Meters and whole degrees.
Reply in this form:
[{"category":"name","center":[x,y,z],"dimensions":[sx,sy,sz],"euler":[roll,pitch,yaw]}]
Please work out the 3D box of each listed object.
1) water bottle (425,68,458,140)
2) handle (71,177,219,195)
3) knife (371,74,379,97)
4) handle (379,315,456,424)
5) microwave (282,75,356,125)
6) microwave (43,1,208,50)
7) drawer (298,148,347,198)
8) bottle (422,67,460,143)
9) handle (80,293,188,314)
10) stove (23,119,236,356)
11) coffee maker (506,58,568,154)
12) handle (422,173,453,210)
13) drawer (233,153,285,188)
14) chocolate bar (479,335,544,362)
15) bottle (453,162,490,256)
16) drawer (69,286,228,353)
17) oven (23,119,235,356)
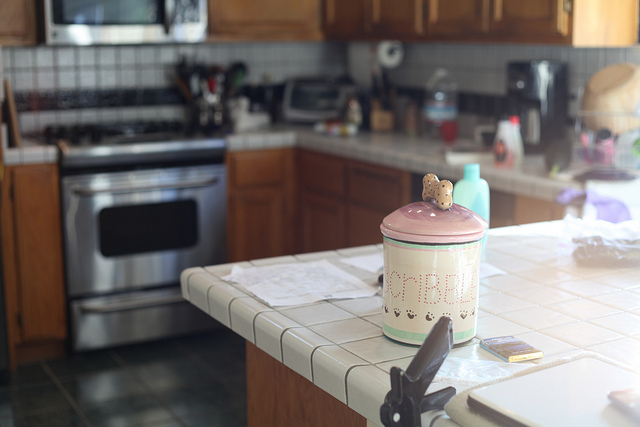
[{"category":"water bottle","center":[0.845,-0.771,4.005],"dimensions":[0.280,0.537,0.293],"euler":[-3,15,1]},{"category":"handle","center":[-0.988,-0.166,3.341],"dimensions":[0.820,0.055,0.032],"euler":[-6,15,-26]},{"category":"knife","center":[0.416,-0.967,4.329],"dimensions":[0.054,0.156,0.080],"euler":[0,13,-4]},{"category":"handle","center":[0.181,0.273,1.027],"dimensions":[0.144,0.181,0.063],"euler":[-9,16,-38]},{"category":"microwave","center":[0.029,-0.839,4.164],"dimensions":[0.470,0.337,0.424],"euler":[11,19,31]},{"category":"microwave","center":[-1.173,-1.140,3.477],"dimensions":[0.639,0.344,0.426],"euler":[-4,10,-24]},{"category":"drawer","center":[0.006,-0.273,3.778],"dimensions":[0.278,0.320,0.319],"euler":[-8,18,-19]},{"category":"bottle","center":[0.845,-0.763,3.998],"dimensions":[0.282,0.544,0.297],"euler":[-2,12,0]},{"category":"handle","center":[-1.077,0.506,3.374],"dimensions":[0.597,0.079,0.031],"euler":[-5,14,-22]},{"category":"stove","center":[-1.125,0.074,3.723],"dimensions":[1.029,1.223,0.935],"euler":[-2,13,-16]},{"category":"coffee maker","center":[1.153,-0.600,3.076],"dimensions":[0.206,0.578,0.275],"euler":[-6,19,-23]},{"category":"handle","center":[0.256,-0.053,1.270],"dimensions":[0.036,0.072,0.083],"euler":[-14,25,-30]},{"category":"drawer","center":[-0.407,-0.294,3.783],"dimensions":[0.343,0.218,0.078],"euler":[-2,5,-30]},{"category":"chocolate bar","center":[0.395,0.273,1.189],"dimensions":[0.072,0.016,0.093],"euler":[-3,13,-22]},{"category":"bottle","center":[0.442,-0.032,1.667],"dimensions":[0.101,0.245,0.065],"euler":[-2,31,16]},{"category":"drawer","center":[-1.081,0.595,3.392],"dimensions":[0.670,0.234,0.616],"euler":[-4,14,-28]},{"category":"oven","center":[-1.299,0.184,3.885],"dimensions":[1.165,1.637,1.072],"euler":[-4,8,-24]}]
